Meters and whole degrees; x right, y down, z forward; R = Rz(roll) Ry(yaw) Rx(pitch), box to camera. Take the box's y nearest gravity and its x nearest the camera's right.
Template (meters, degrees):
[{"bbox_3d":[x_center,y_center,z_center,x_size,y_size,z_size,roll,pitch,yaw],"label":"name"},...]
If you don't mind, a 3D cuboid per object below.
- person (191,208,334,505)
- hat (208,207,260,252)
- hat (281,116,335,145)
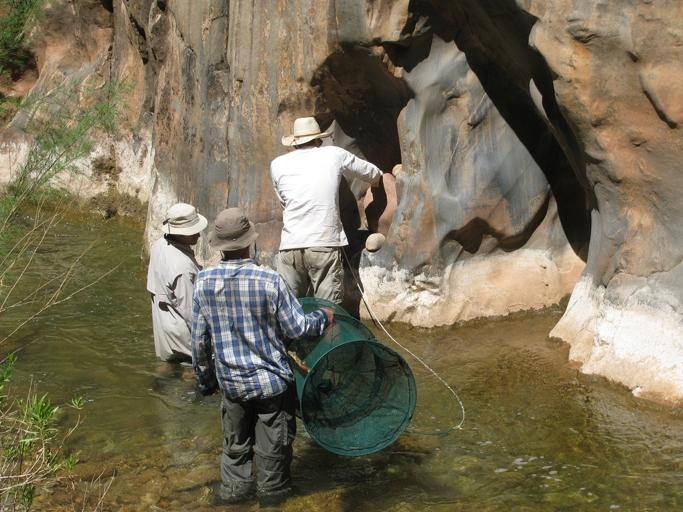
[{"bbox_3d":[-0.560,0.665,5.631,0.764,1.700,0.646,16,27,26],"label":"person"},{"bbox_3d":[-0.658,-0.162,5.631,0.213,0.159,0.314,-7,50,11],"label":"hat"},{"bbox_3d":[-0.258,-1.057,7.408,0.278,0.143,0.322,-6,22,32],"label":"hat"}]
